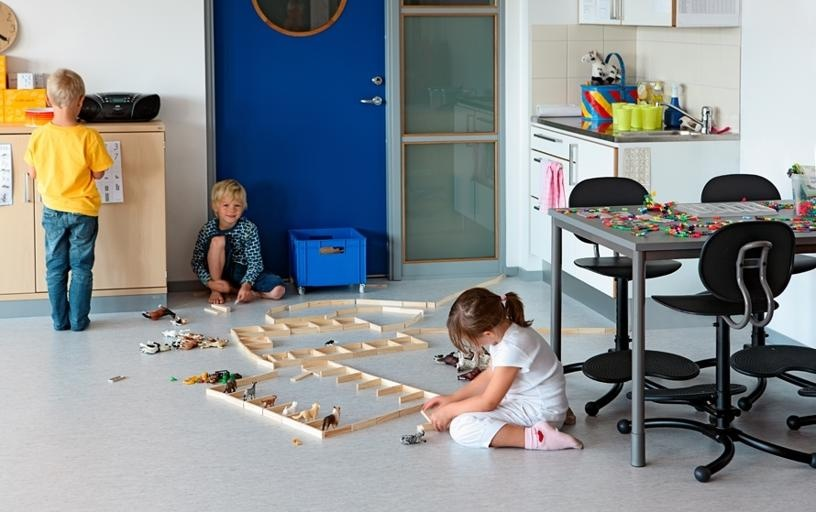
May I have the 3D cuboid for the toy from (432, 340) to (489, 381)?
[{"bbox_3d":[0.358,0.670,4.155,0.285,0.081,0.236,-11,14,-31],"label":"toy"}]

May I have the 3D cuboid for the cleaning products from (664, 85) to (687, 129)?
[{"bbox_3d":[2.143,-1.204,5.298,0.138,0.340,0.436,3,15,22],"label":"cleaning products"}]

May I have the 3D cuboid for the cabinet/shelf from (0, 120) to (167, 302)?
[{"bbox_3d":[-2.434,-0.363,4.865,1.588,1.241,0.515,-1,7,-14],"label":"cabinet/shelf"}]

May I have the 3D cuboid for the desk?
[{"bbox_3d":[1.397,0.307,3.797,1.424,1.036,1.366,-2,9,-10],"label":"desk"}]

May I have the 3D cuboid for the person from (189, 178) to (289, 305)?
[{"bbox_3d":[-1.438,-0.127,5.517,0.862,0.906,0.717,19,23,35],"label":"person"}]

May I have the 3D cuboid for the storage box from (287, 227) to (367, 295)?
[{"bbox_3d":[-0.766,-0.042,5.782,0.697,0.308,0.652,11,8,9],"label":"storage box"}]

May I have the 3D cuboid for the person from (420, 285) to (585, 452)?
[{"bbox_3d":[0.496,0.548,3.616,0.863,0.698,0.958,-1,5,3],"label":"person"}]

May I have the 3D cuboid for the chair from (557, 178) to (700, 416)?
[{"bbox_3d":[1.312,0.210,3.826,0.839,1.178,0.901,-4,14,-15],"label":"chair"}]

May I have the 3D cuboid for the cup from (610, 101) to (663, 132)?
[{"bbox_3d":[1.772,-1.089,5.156,0.377,0.146,0.235,-1,11,-2],"label":"cup"}]

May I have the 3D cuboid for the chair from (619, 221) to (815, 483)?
[{"bbox_3d":[1.484,0.388,3.212,0.772,1.170,0.678,-4,15,-4],"label":"chair"}]

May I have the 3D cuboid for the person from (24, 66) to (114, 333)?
[{"bbox_3d":[-2.382,-0.380,4.720,0.555,1.834,0.329,-10,17,-25],"label":"person"}]
